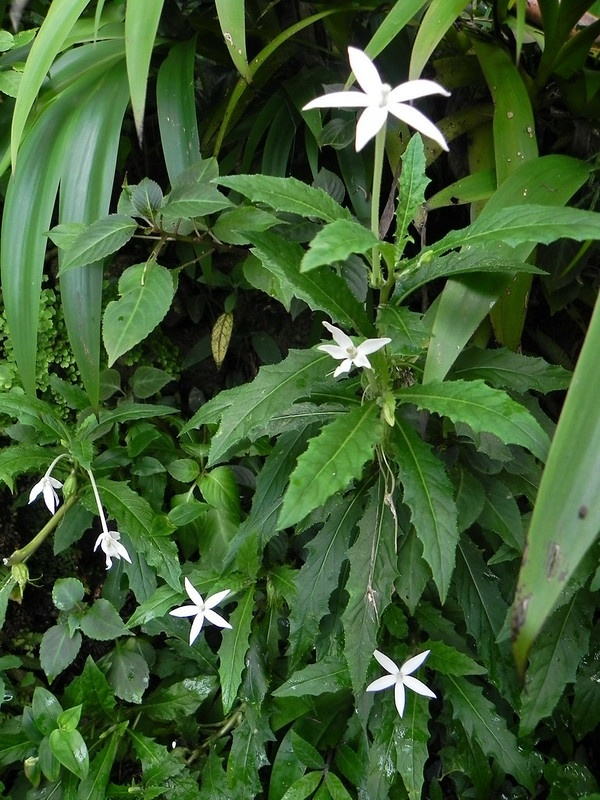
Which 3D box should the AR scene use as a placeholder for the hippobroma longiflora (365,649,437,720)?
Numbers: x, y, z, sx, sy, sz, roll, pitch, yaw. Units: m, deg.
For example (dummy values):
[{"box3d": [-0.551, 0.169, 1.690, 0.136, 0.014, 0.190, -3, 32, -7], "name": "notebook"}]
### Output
[{"box3d": [0.183, 0.528, 1.163, 0.117, 0.136, 0.079, -7, 42, -2], "name": "hippobroma longiflora"}]
